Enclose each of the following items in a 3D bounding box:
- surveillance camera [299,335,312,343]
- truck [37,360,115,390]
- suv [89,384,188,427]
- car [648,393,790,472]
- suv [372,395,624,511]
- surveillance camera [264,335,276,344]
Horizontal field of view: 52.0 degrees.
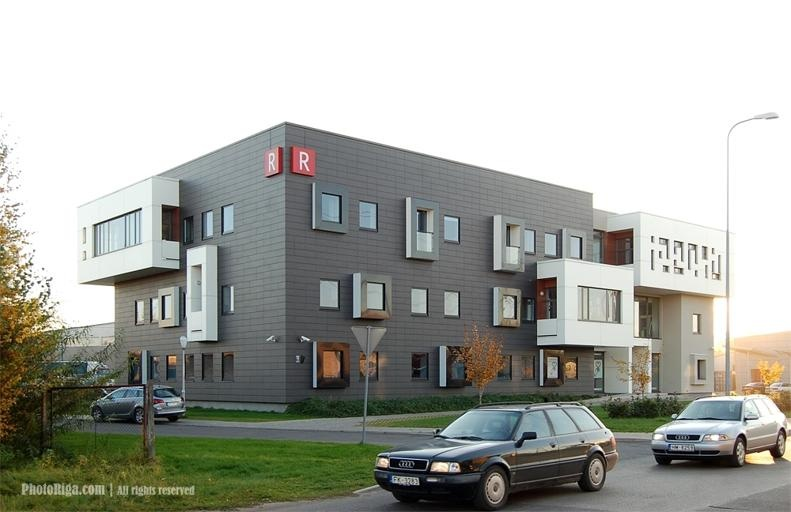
[{"bbox_3d":[-4.544,4.181,40.898,0.334,0.320,0.735,-11,-17,30],"label":"surveillance camera"},{"bbox_3d":[-9.192,3.556,23.014,1.979,0.816,1.094,8,-3,4],"label":"truck"},{"bbox_3d":[-11.979,6.658,36.531,4.151,1.772,4.550,-4,-14,6],"label":"suv"},{"bbox_3d":[9.870,5.103,24.054,1.913,1.212,4.187,-10,-14,43],"label":"car"},{"bbox_3d":[2.631,4.622,19.481,5.221,1.579,2.408,6,-11,-39],"label":"suv"},{"bbox_3d":[-6.170,4.210,40.801,0.471,0.390,0.158,16,17,15],"label":"surveillance camera"}]
